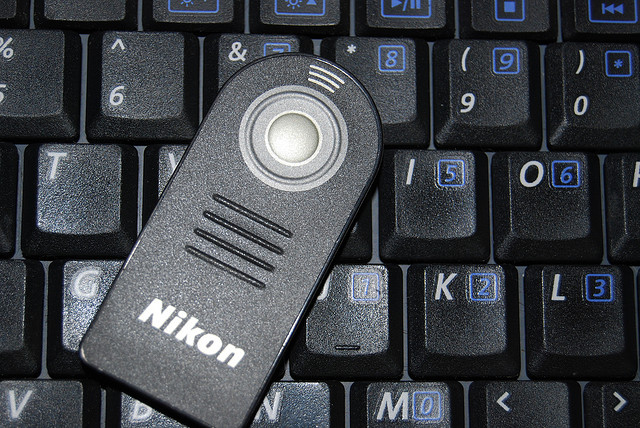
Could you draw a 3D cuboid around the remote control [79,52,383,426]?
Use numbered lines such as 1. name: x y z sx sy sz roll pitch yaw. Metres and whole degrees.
1. remote control: -0.088 0.034 0.937 0.232 0.501 0.116 28 -4 4
